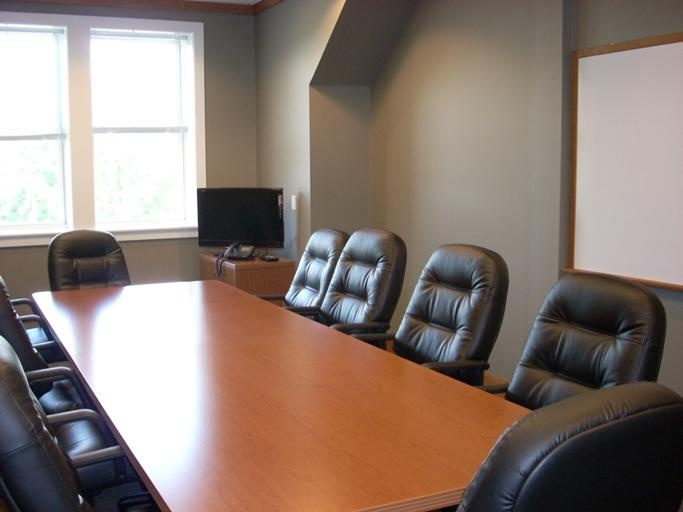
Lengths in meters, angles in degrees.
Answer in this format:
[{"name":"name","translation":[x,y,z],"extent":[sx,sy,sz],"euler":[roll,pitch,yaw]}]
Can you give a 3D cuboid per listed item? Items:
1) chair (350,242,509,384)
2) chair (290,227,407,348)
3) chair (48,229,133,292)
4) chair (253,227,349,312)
[{"name":"chair","translation":[0.615,0.283,3.035],"extent":[0.788,0.948,0.598],"euler":[13,-6,-44]},{"name":"chair","translation":[0.156,0.178,3.689],"extent":[0.612,0.972,0.753],"euler":[12,-1,44]},{"name":"chair","translation":[-2.001,0.050,4.345],"extent":[0.443,0.707,0.555],"euler":[-2,-9,-29]},{"name":"chair","translation":[-0.265,0.068,3.879],"extent":[0.608,0.767,0.464],"euler":[7,4,-41]}]
